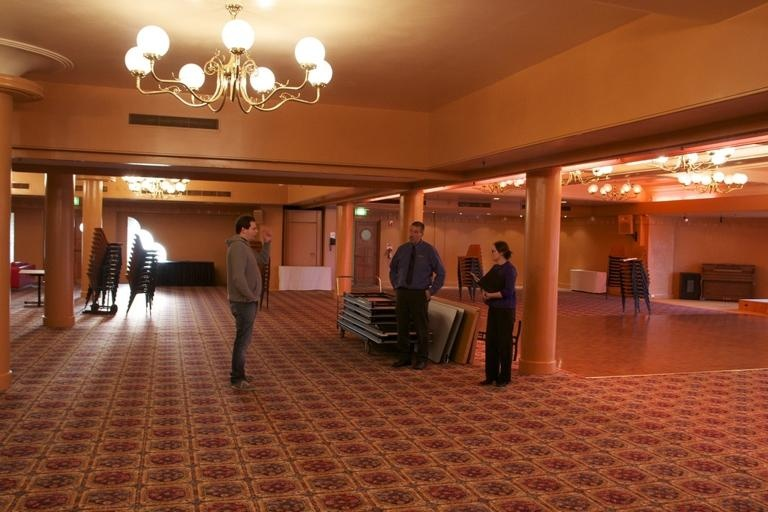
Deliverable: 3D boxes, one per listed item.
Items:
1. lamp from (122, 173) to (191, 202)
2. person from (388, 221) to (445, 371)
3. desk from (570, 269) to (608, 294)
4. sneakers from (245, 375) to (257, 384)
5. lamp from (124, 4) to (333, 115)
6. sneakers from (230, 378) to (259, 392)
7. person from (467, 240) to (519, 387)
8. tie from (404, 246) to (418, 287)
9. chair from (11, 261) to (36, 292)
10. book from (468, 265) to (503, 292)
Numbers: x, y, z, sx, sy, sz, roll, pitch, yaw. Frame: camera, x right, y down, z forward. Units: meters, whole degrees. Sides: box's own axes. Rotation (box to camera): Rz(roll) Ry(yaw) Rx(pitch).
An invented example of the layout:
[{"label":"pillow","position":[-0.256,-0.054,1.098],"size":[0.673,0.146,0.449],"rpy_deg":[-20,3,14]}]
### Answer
[{"label":"lamp","position":[-7.106,-2.126,16.105],"size":[1.293,0.461,1.253],"rpy_deg":[1,1,1]},{"label":"person","position":[0.491,0.610,8.233],"size":[0.865,2.299,0.421],"rpy_deg":[2,3,7]},{"label":"desk","position":[8.252,0.800,21.157],"size":[0.820,1.008,1.565],"rpy_deg":[1,4,-29]},{"label":"sneakers","position":[-1.909,1.754,7.414],"size":[0.118,0.044,0.154],"rpy_deg":[1,0,-5]},{"label":"lamp","position":[-1.630,-2.089,5.805],"size":[1.891,0.883,1.854],"rpy_deg":[2,2,12]},{"label":"sneakers","position":[-1.925,1.765,7.129],"size":[0.388,0.155,0.127],"rpy_deg":[0,-1,-6]},{"label":"person","position":[1.601,0.818,7.507],"size":[0.509,2.067,0.444],"rpy_deg":[2,3,11]},{"label":"tie","position":[0.424,0.149,8.174],"size":[0.139,0.641,0.177],"rpy_deg":[3,3,18]},{"label":"chair","position":[-12.309,0.712,17.755],"size":[0.527,0.630,1.020],"rpy_deg":[2,7,11]},{"label":"book","position":[1.509,0.313,7.435],"size":[0.329,0.381,0.270],"rpy_deg":[2,3,12]}]
